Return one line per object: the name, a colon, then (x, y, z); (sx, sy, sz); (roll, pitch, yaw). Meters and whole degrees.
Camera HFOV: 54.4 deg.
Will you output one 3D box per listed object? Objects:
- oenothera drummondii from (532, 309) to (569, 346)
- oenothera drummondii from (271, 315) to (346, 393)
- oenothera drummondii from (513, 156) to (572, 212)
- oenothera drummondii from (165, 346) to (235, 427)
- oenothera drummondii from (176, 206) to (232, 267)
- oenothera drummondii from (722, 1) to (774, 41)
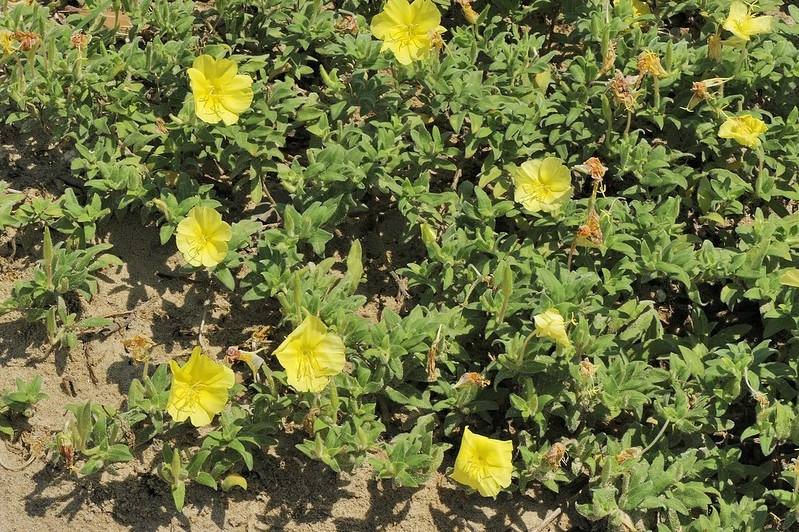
oenothera drummondii: (0.882, 0.341, 4.440); (0.238, 0.187, 0.095); (28, 10, 9)
oenothera drummondii: (-0.548, 0.503, 4.494); (0.407, 0.423, 0.204); (-31, 24, -20)
oenothera drummondii: (0.951, -0.565, 4.970); (0.310, 0.155, 0.296); (20, -18, -5)
oenothera drummondii: (-1.126, 0.691, 4.358); (0.406, 0.442, 0.226); (-14, 24, -31)
oenothera drummondii: (-1.144, -0.226, 4.676); (0.298, 0.138, 0.311); (21, -16, -7)
oenothera drummondii: (2.343, -1.646, 5.224); (0.258, 0.246, 0.390); (20, 26, 35)
